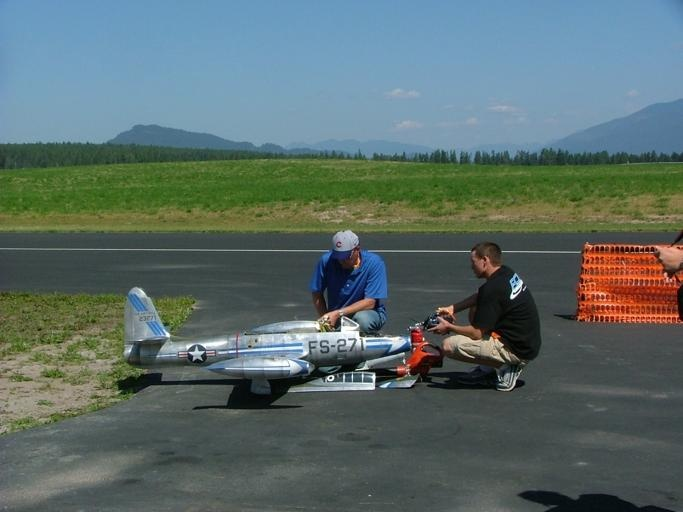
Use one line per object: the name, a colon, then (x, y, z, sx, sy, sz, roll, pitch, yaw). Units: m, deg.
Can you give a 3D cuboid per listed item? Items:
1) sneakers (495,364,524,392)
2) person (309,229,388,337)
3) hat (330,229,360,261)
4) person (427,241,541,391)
sneakers: (2.275, 1.655, 12.396, 0.278, 0.471, 0.196, 15, 11, -5)
person: (0.131, 0.389, 12.987, 1.076, 1.533, 0.973, -8, 11, -23)
hat: (0.059, -0.212, 12.875, 0.345, 0.245, 0.462, 8, 37, 23)
person: (2.013, 0.828, 12.334, 1.197, 2.041, 0.752, 3, 13, 35)
